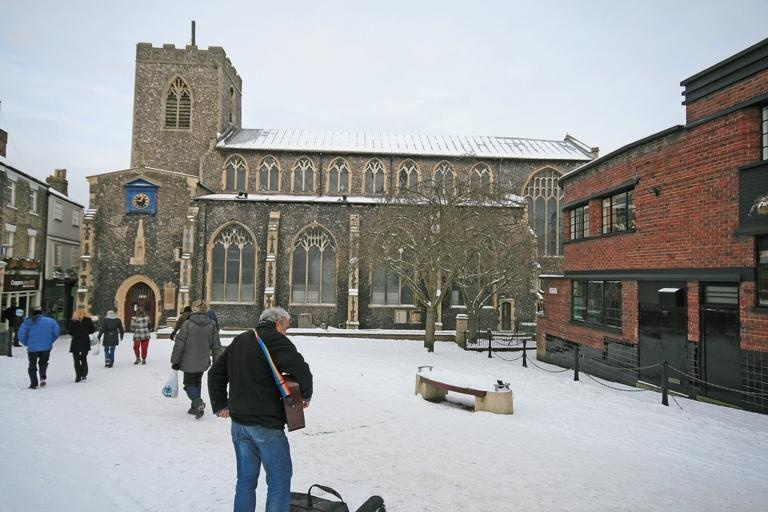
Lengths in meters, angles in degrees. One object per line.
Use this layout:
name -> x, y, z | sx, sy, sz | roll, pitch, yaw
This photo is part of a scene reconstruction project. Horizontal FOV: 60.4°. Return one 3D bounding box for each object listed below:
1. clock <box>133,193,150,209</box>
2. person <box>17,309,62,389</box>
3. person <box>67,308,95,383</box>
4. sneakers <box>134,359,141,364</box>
clock -> -13.927, -3.152, 37.755 | 0.906, 0.881, 0.094 | 1, -5, 3
person -> -11.854, 3.098, 22.515 | 1.169, 2.716, 1.054 | 4, -5, -26
person -> -10.675, 3.153, 23.154 | 0.734, 2.521, 0.958 | 3, -5, -23
sneakers -> -9.797, 4.171, 26.033 | 0.360, 0.253, 0.141 | -14, -13, 40
